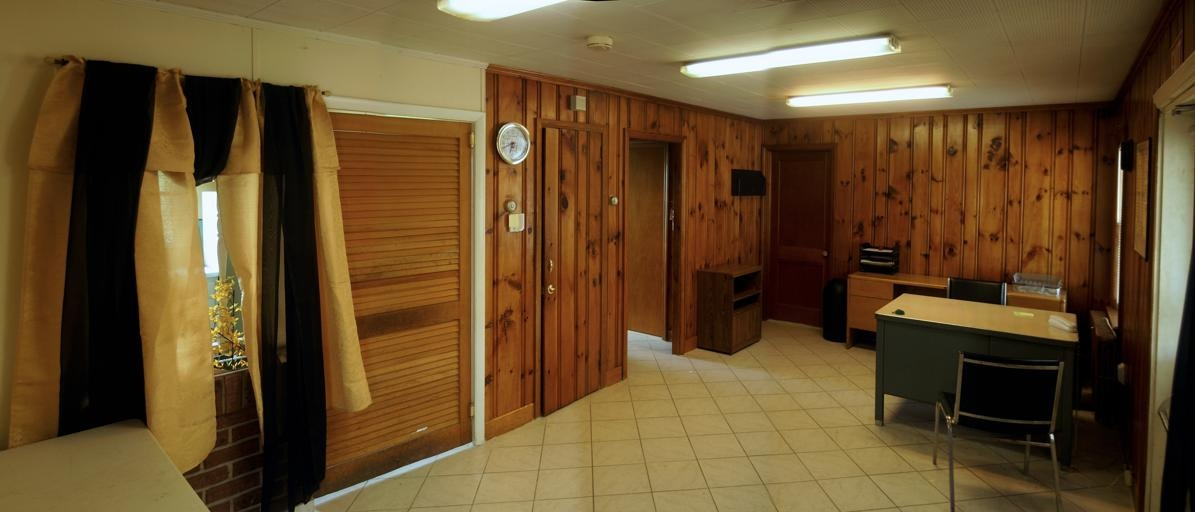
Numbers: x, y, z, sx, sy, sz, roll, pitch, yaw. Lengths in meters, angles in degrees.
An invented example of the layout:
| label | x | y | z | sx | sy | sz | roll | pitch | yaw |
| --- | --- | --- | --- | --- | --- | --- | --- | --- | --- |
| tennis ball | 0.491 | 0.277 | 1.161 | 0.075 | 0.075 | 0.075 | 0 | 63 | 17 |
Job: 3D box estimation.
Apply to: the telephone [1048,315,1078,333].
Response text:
| label | x | y | z | sx | sy | sz | roll | pitch | yaw |
| --- | --- | --- | --- | --- | --- | --- | --- | --- | --- |
| telephone | 5.308 | 0.774 | 8.298 | 0.292 | 0.065 | 0.237 | 1 | 13 | -3 |

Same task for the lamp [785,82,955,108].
| label | x | y | z | sx | sy | sz | roll | pitch | yaw |
| --- | --- | --- | --- | --- | --- | --- | --- | --- | --- |
| lamp | 3.546 | -2.146 | 9.467 | 1.929 | 0.167 | 0.613 | 3 | 9 | 21 |

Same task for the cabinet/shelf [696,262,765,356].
| label | x | y | z | sx | sy | sz | roll | pitch | yaw |
| --- | --- | --- | --- | --- | --- | --- | --- | --- | --- |
| cabinet/shelf | 1.914 | 0.744 | 10.647 | 0.626 | 1.196 | 0.880 | 7 | 13 | 40 |

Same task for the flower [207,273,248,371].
| label | x | y | z | sx | sy | sz | roll | pitch | yaw |
| --- | --- | --- | --- | --- | --- | --- | --- | --- | --- |
| flower | -3.821 | 0.686 | 7.432 | 0.302 | 0.956 | 0.368 | -6 | 11 | -25 |

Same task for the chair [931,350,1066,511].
| label | x | y | z | sx | sy | sz | roll | pitch | yaw |
| --- | --- | --- | --- | --- | --- | --- | --- | --- | --- |
| chair | 4.337 | 1.842 | 7.816 | 1.307 | 1.668 | 1.089 | 2 | 10 | 19 |

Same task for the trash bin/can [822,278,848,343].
| label | x | y | z | sx | sy | sz | roll | pitch | yaw |
| --- | --- | --- | --- | --- | --- | --- | --- | --- | --- |
| trash bin/can | 3.516 | 0.805 | 10.775 | 0.331 | 0.915 | 0.385 | 1 | 10 | 13 |

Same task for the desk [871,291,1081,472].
| label | x | y | z | sx | sy | sz | roll | pitch | yaw |
| --- | --- | --- | --- | --- | --- | --- | --- | --- | --- |
| desk | 5.018 | 1.233 | 9.713 | 1.150 | 1.393 | 3.688 | -16 | 23 | -20 |

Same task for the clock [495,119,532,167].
| label | x | y | z | sx | sy | sz | roll | pitch | yaw |
| --- | --- | --- | --- | --- | --- | --- | --- | --- | --- |
| clock | -0.973 | -1.341 | 8.464 | 0.478 | 0.507 | 0.106 | -8 | 12 | -36 |
